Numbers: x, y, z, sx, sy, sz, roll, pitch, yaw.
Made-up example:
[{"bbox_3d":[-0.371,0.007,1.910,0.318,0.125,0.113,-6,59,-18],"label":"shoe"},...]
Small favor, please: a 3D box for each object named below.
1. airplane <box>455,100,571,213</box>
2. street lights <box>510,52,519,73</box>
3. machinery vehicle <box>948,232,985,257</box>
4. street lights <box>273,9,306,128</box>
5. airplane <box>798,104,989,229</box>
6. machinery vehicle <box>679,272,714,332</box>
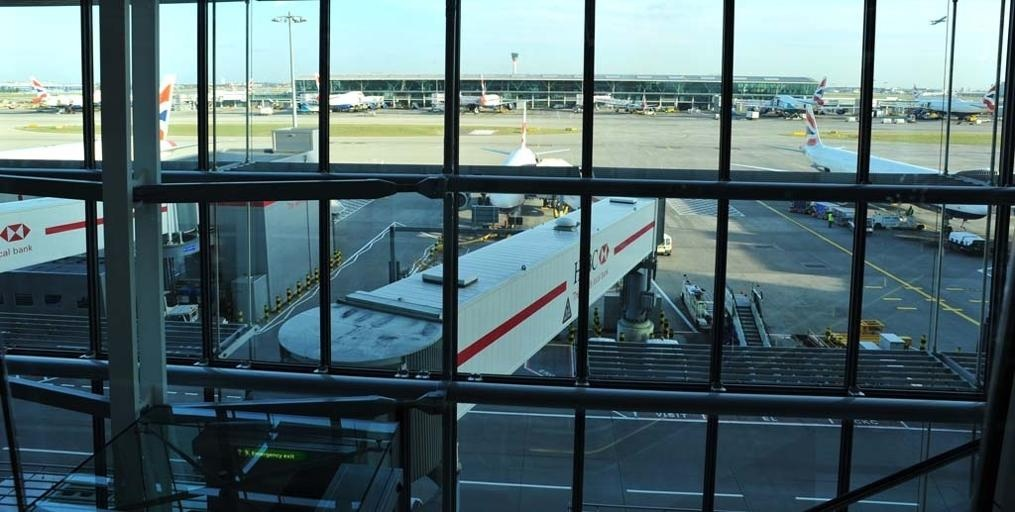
[{"bbox_3d":[0.462,-2.530,22.883,2.886,1.087,2.824,3,27,5],"label":"airplane"},{"bbox_3d":[0.182,-4.760,22.406,0.172,0.499,0.253,1,15,1],"label":"street lights"},{"bbox_3d":[10.538,-0.289,20.618,0.509,0.216,0.768,-1,12,4],"label":"machinery vehicle"},{"bbox_3d":[-5.165,-4.388,21.487,0.785,2.625,0.436,13,20,39],"label":"street lights"},{"bbox_3d":[8.867,-2.091,21.133,3.621,1.185,3.122,19,42,24],"label":"airplane"},{"bbox_3d":[4.734,1.287,22.585,0.451,0.434,1.177,-1,25,0],"label":"machinery vehicle"}]
